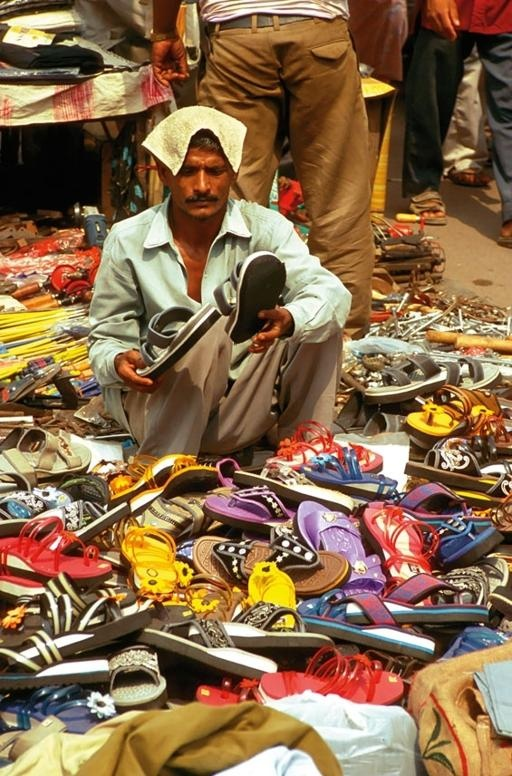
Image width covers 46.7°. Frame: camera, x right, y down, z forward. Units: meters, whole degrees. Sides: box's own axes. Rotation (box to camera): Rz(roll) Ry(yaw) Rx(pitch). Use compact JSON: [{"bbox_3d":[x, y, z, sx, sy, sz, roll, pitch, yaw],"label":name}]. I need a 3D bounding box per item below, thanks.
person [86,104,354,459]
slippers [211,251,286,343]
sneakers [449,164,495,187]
[{"bbox_3d":[-0.195,-0.381,2.554,1.128,1.490,1.081,-8,27,-22],"label":"person"},{"bbox_3d":[-0.011,-0.358,2.199,0.213,0.388,0.116,-12,54,-28],"label":"slippers"},{"bbox_3d":[2.610,-2.563,7.251,0.262,0.178,0.457,-7,11,-34],"label":"sneakers"}]
